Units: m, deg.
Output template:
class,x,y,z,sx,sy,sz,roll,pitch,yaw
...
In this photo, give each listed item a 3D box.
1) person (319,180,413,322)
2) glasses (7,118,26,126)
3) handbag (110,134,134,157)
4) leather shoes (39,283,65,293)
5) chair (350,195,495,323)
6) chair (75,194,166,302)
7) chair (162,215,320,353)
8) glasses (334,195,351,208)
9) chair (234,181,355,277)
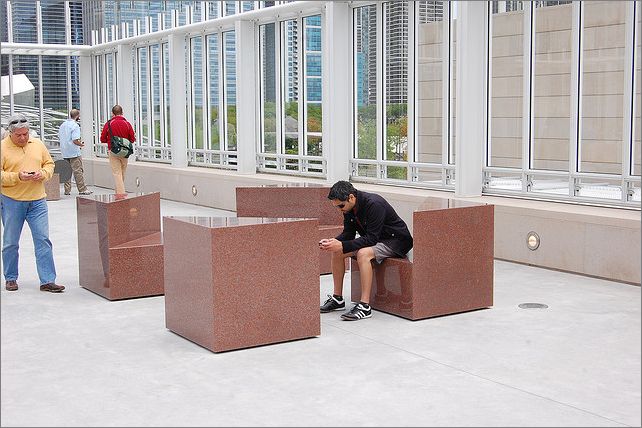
class,x,y,z,sx,sy,sz,roll,pitch,yaw
person,0.556,0.441,7.627,1.178,1.735,0.662,-1,11,-3
glasses,-4.252,-1.296,8.372,0.234,0.094,0.158,-6,12,-28
handbag,-5.172,-1.764,15.408,0.410,0.643,0.577,-13,-4,31
leather shoes,-3.973,1.095,8.863,0.357,0.137,0.139,0,4,6
chair,1.591,0.461,8.036,1.670,1.590,1.637,-6,8,-38
chair,-3.050,0.628,9.004,1.271,1.040,1.245,-3,-4,25
chair,-0.973,0.759,7.219,1.771,1.284,1.730,-2,4,-17
glasses,0.272,-0.138,7.441,0.153,0.047,0.151,-5,28,33
chair,-0.557,0.218,9.945,1.662,0.901,1.580,-1,4,-20
